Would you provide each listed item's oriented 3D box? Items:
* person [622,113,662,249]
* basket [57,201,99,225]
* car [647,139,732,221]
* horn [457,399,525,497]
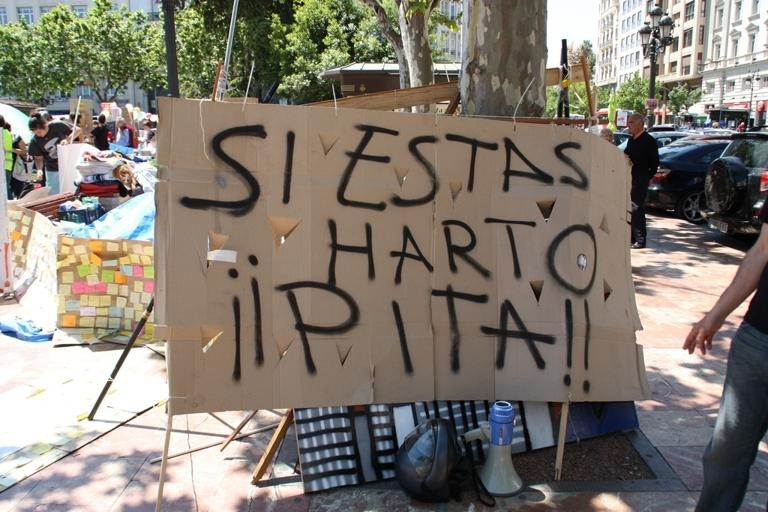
[{"bbox_3d":[4.712,-1.374,10.716,0.856,2.462,0.788,-8,13,-22],"label":"person"},{"bbox_3d":[-4.731,-0.690,8.927,0.397,0.321,0.651,0,12,8],"label":"basket"},{"bbox_3d":[6.446,-1.616,12.086,2.266,1.509,1.117,-4,-16,3],"label":"car"},{"bbox_3d":[0.868,1.580,4.695,0.483,0.774,0.454,-4,-1,15],"label":"horn"}]
